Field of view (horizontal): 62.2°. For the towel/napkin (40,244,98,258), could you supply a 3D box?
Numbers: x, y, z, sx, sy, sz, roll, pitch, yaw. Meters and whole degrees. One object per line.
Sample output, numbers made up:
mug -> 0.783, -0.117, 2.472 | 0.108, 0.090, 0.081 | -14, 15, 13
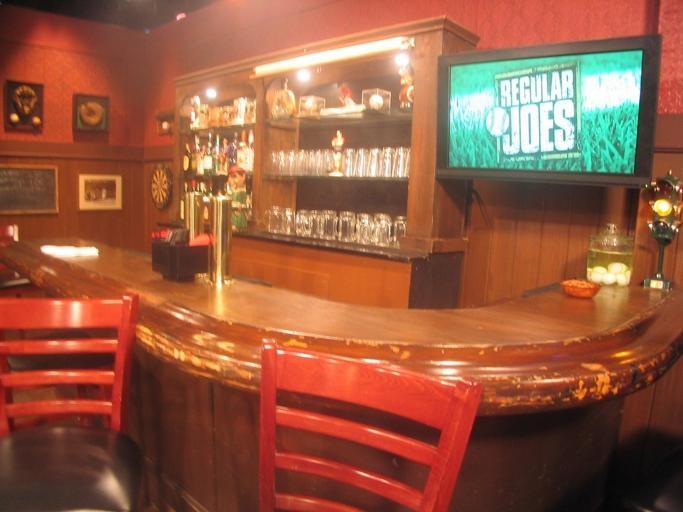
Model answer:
towel/napkin -> -1.596, -0.029, 3.325 | 0.304, 0.035, 0.388 | -4, 9, -30

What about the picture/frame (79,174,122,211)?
picture/frame -> -2.947, -0.782, 6.847 | 0.043, 0.391, 0.396 | 5, 6, 43

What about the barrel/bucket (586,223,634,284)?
barrel/bucket -> 1.490, -0.013, 3.151 | 0.219, 0.320, 0.174 | 2, 7, 11

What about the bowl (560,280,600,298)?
bowl -> 1.175, 0.158, 2.804 | 0.181, 0.078, 0.173 | 0, 8, 0

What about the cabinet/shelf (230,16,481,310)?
cabinet/shelf -> 0.147, -0.685, 4.248 | 2.077, 2.373, 0.770 | 3, 2, 42
